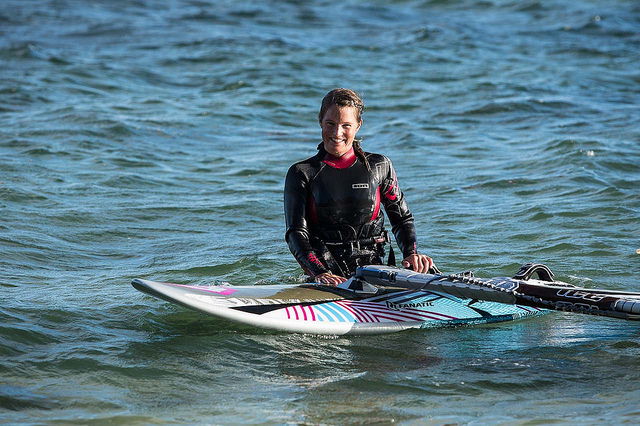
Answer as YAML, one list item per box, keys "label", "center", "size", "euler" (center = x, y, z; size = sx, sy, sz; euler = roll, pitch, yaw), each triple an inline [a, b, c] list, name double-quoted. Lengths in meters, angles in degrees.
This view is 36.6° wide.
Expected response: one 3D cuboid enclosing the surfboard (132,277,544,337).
- label: "surfboard"
  center: [1.233, 1.641, 17.398]
  size: [8.840, 0.514, 1.799]
  euler: [3, -3, -7]
